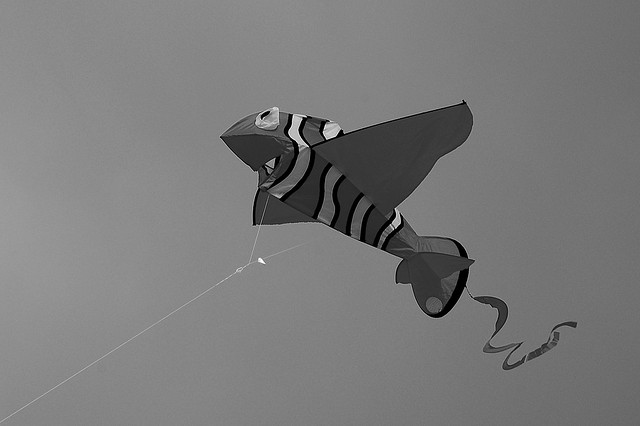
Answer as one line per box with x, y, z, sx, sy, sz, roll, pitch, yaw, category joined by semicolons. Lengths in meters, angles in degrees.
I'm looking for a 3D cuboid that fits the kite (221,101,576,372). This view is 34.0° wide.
0.322;0.063;4.977;0.463;1.860;1.742;-56;-31;-2;kite
